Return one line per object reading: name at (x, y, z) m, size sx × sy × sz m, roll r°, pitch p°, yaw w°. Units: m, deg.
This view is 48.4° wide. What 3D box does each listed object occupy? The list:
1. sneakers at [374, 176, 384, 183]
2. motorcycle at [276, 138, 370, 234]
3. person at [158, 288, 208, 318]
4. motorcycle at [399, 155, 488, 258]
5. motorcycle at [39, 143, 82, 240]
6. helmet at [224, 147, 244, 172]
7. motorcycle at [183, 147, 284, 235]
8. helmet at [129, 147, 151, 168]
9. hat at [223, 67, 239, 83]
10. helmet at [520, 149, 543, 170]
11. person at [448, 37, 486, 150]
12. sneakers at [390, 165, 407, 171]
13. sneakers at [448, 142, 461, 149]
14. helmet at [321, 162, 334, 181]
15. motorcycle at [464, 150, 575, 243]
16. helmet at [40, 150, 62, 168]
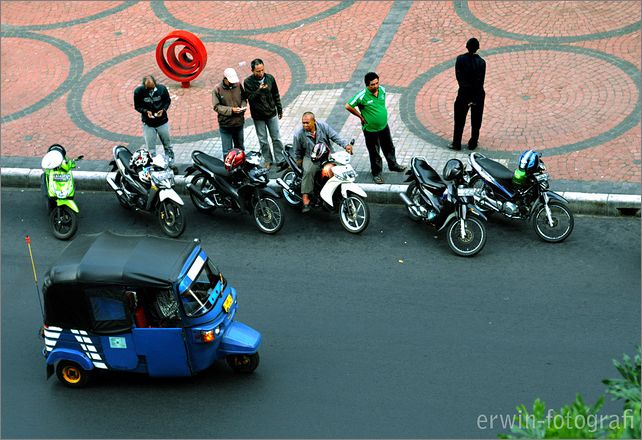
sneakers at (1.184, -0.808, 14.428) m, size 0.087 × 0.104 × 0.242 m, roll -7°, pitch 17°, yaw -14°
motorcycle at (-0.039, -0.810, 13.837) m, size 0.950 × 1.566 × 2.446 m, roll -10°, pitch 23°, yaw -41°
person at (-2.081, 1.244, 10.479) m, size 0.734 × 0.449 × 0.205 m, roll -5°, pitch 21°, yaw -1°
motorcycle at (2.336, -0.433, 13.299) m, size 0.712 × 1.575 × 2.363 m, roll -3°, pitch 20°, yaw -23°
motorcycle at (-5.026, -0.547, 13.736) m, size 0.615 × 1.190 × 1.951 m, roll -2°, pitch 42°, yaw -18°
helmet at (-1.628, -1.130, 13.533) m, size 0.397 × 0.390 × 0.254 m, roll -8°, pitch 21°, yaw -7°
motorcycle at (-1.735, -0.723, 13.887) m, size 2.388 × 1.512 × 0.969 m, roll 16°, pitch 20°, yaw 31°
helmet at (-3.522, -1.204, 14.077) m, size 0.408 × 0.398 × 0.322 m, roll 6°, pitch -6°, yaw 16°
hat at (-1.858, -2.925, 14.505) m, size 0.261 × 0.149 × 0.390 m, roll -22°, pitch 57°, yaw -24°
helmet at (3.736, -1.039, 12.728) m, size 0.359 × 0.299 × 0.288 m, roll -36°, pitch 43°, yaw -3°
person at (3.043, -2.571, 14.776) m, size 0.684 × 2.265 × 0.336 m, roll 0°, pitch 21°, yaw 12°
sneakers at (1.589, -1.053, 14.724) m, size 0.342 × 0.150 × 0.128 m, roll -2°, pitch 39°, yaw 22°
sneakers at (2.823, -1.540, 15.102) m, size 0.249 × 0.108 × 0.095 m, roll 19°, pitch 42°, yaw 27°
helmet at (0.113, -0.896, 13.379) m, size 0.264 × 0.282 × 0.207 m, roll -8°, pitch 6°, yaw 39°
motorcycle at (3.563, -0.590, 13.069) m, size 0.786 × 1.438 × 2.325 m, roll -17°, pitch 29°, yaw -38°
helmet at (-5.180, -1.139, 13.770) m, size 0.405 × 0.294 × 0.410 m, roll -15°, pitch 23°, yaw -24°
